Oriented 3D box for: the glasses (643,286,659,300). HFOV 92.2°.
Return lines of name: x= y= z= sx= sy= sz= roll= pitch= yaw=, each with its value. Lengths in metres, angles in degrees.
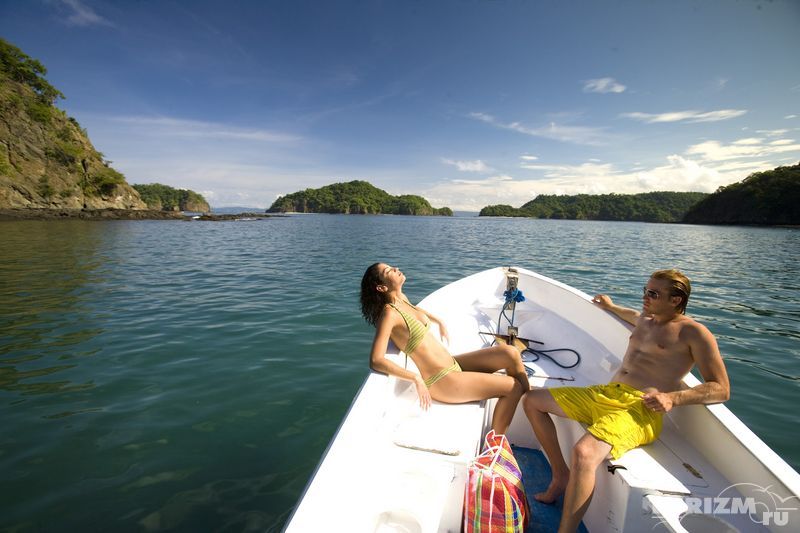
glasses: x=2.276 y=0.244 z=3.472 sx=0.137 sy=0.038 sz=0.120 roll=19 pitch=1 yaw=-12
